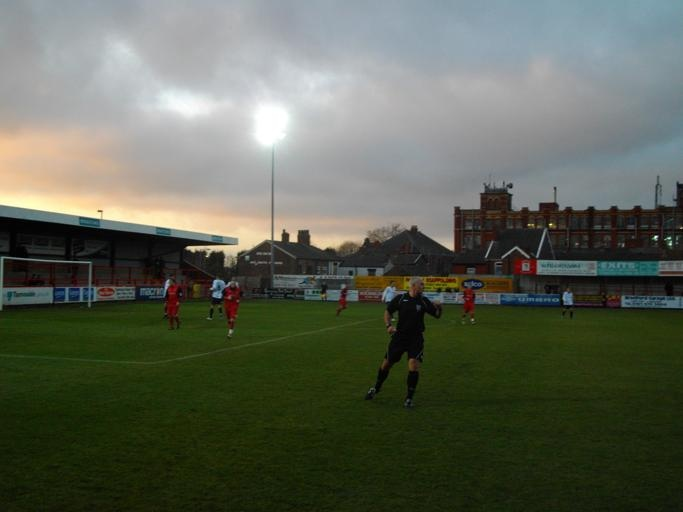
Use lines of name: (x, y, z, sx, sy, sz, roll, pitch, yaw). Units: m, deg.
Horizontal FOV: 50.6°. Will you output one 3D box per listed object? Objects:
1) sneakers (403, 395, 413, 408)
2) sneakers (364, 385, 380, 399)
sneakers: (1.284, 2.783, 13.772, 0.191, 0.229, 0.548, 4, -3, 9)
sneakers: (0.613, 2.713, 14.255, 0.279, 0.114, 0.168, -12, 6, -1)
